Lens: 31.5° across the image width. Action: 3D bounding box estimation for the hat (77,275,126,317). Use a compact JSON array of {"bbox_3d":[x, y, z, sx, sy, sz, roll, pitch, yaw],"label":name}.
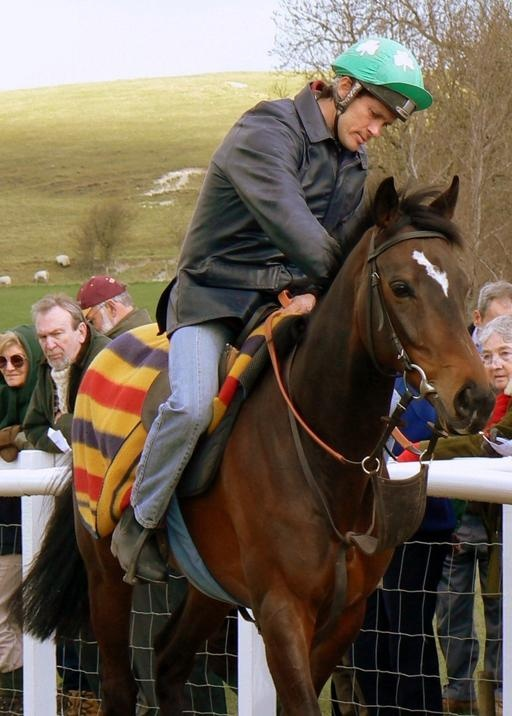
[{"bbox_3d":[-0.951,-0.366,5.316,0.281,0.150,0.191,-20,16,28],"label":"hat"}]
